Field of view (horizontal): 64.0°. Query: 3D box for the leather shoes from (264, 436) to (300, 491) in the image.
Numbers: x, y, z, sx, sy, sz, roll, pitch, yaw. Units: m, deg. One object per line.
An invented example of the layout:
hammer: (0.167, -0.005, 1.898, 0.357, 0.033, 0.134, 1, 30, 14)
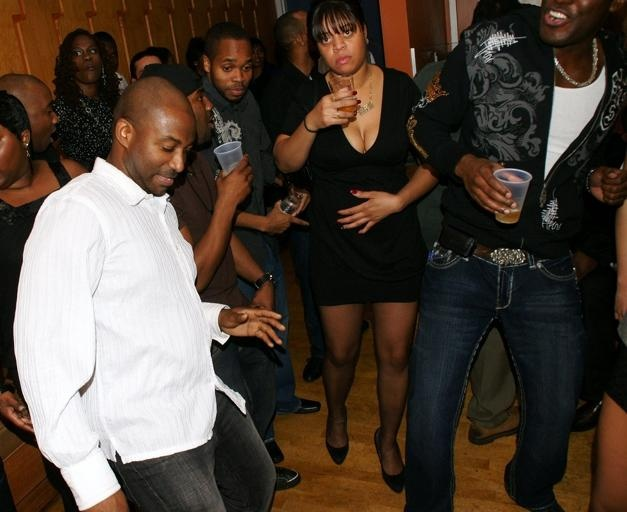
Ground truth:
leather shoes: (-0.153, 1.046, 2.579, 0.141, 0.177, 0.225, -10, 19, -19)

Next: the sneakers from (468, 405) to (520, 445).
sneakers: (0.968, 0.929, 2.736, 0.307, 0.127, 0.123, -22, 19, -12)

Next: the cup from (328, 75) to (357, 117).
cup: (0.132, -0.703, 2.166, 0.116, 0.162, 0.274, -3, 18, 2)

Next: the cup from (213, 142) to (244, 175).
cup: (-0.367, -0.429, 2.327, 0.137, 0.137, 0.154, -3, 39, 8)

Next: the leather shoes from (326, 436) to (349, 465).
leather shoes: (0.131, 1.020, 2.631, 0.116, 0.094, 0.095, -4, 18, -1)

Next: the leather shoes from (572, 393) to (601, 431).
leather shoes: (1.489, 0.830, 2.721, 0.102, 0.147, 0.277, 10, 22, 34)

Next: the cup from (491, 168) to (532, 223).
cup: (0.649, -0.207, 1.653, 0.133, 0.160, 0.137, -2, 26, 1)

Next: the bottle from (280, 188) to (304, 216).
bottle: (-0.117, -0.273, 2.661, 0.067, 0.094, 0.150, 9, 22, 33)

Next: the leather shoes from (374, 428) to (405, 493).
leather shoes: (0.369, 0.995, 2.513, 0.096, 0.048, 0.323, -5, 63, -20)

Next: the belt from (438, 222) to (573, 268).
belt: (0.639, -0.029, 1.852, 0.286, 0.082, 0.217, 23, 2, 7)
